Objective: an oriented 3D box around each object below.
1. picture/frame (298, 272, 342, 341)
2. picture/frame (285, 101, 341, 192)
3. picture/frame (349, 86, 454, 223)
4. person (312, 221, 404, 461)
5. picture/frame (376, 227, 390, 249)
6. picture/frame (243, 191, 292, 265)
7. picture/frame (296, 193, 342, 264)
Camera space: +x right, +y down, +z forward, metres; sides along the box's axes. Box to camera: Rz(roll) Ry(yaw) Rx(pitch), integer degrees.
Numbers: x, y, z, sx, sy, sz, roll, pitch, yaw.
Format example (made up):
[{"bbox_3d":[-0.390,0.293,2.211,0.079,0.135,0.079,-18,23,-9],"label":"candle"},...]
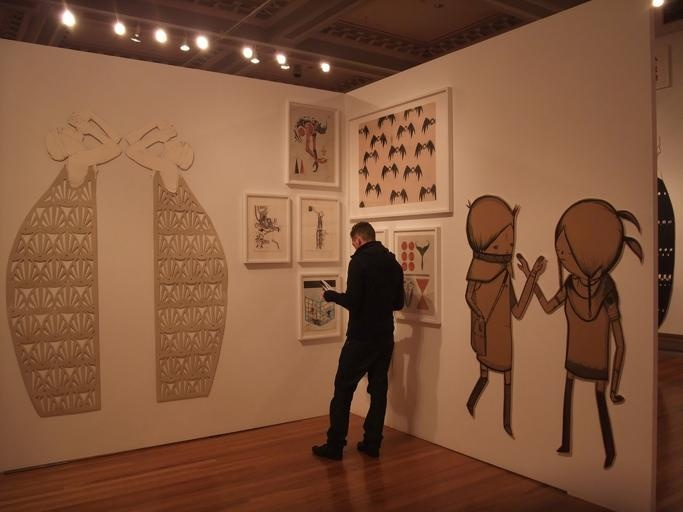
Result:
[{"bbox_3d":[-0.249,0.577,6.009,0.492,0.861,0.055,-2,21,-6],"label":"picture/frame"},{"bbox_3d":[-0.324,-1.284,6.036,0.638,1.078,0.074,3,37,-1],"label":"picture/frame"},{"bbox_3d":[0.677,-1.086,5.550,0.132,1.363,1.370,2,-2,-41],"label":"picture/frame"},{"bbox_3d":[0.186,0.785,5.094,0.921,2.218,0.447,-1,5,-9],"label":"person"},{"bbox_3d":[0.449,-0.201,5.626,0.020,0.240,0.211,1,-1,-31],"label":"picture/frame"},{"bbox_3d":[-0.824,-0.302,5.793,0.513,0.858,0.060,2,-26,-12],"label":"picture/frame"},{"bbox_3d":[-0.258,-0.308,6.061,0.477,0.829,0.028,0,29,-3],"label":"picture/frame"}]
